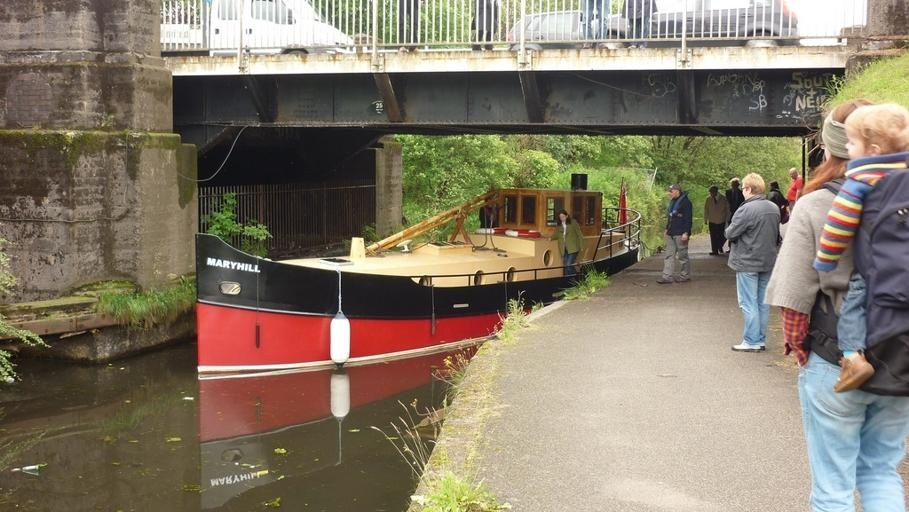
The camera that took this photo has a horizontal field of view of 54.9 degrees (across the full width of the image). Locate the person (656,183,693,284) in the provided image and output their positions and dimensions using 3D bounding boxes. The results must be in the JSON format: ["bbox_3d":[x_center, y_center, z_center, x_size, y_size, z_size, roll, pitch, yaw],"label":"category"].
[{"bbox_3d":[5.035,-0.507,19.920,0.610,2.269,1.077,1,7,12],"label":"person"}]

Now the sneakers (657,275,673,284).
[{"bbox_3d":[4.860,0.547,20.100,0.168,0.203,0.479,1,-1,31],"label":"sneakers"}]

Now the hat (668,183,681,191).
[{"bbox_3d":[4.855,-1.541,19.524,0.319,0.164,0.239,6,9,31],"label":"hat"}]

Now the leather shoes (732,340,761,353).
[{"bbox_3d":[4.870,1.517,14.629,0.461,0.210,0.170,4,6,18],"label":"leather shoes"}]
